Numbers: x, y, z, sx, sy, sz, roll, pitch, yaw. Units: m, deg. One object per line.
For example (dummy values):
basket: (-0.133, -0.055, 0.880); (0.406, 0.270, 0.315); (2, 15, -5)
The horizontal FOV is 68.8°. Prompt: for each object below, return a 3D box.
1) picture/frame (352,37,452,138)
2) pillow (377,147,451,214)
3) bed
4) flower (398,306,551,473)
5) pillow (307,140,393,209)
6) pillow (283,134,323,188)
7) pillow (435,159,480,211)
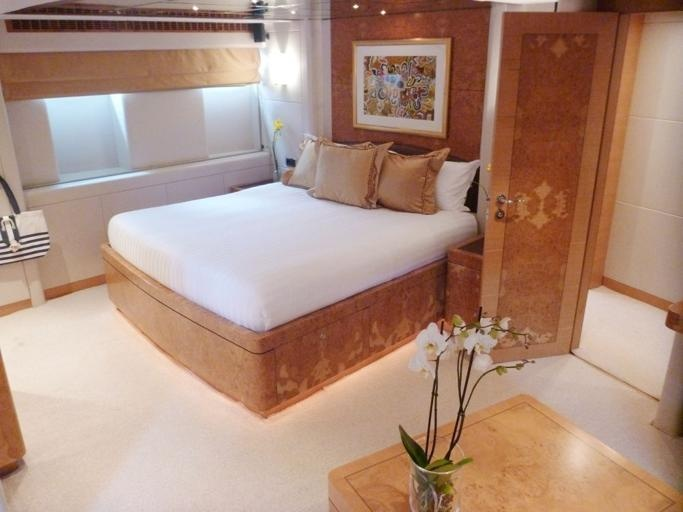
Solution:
picture/frame: (0.604, -1.612, 4.685); (0.993, 0.755, 0.040); (20, 30, 40)
pillow: (0.548, -0.667, 4.342); (0.328, 0.540, 0.638); (-15, 24, -40)
bed: (-0.813, 0.058, 3.557); (1.528, 0.401, 1.620); (-24, 36, -35)
flower: (0.541, 0.644, 2.228); (0.542, 0.567, 0.804); (7, 61, 15)
pillow: (0.024, -0.756, 4.457); (0.700, 0.521, 0.246); (17, 13, 32)
pillow: (-0.349, -0.897, 4.908); (0.160, 0.552, 0.445); (11, 8, -35)
pillow: (0.996, -0.628, 4.311); (0.399, 0.221, 0.379); (5, 46, 27)
